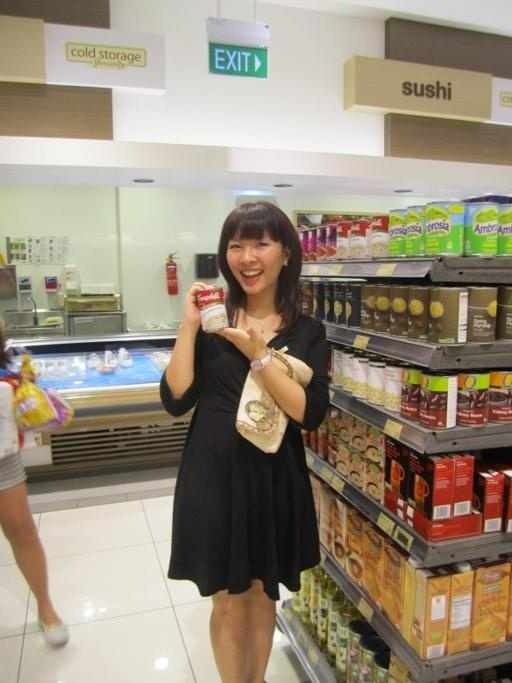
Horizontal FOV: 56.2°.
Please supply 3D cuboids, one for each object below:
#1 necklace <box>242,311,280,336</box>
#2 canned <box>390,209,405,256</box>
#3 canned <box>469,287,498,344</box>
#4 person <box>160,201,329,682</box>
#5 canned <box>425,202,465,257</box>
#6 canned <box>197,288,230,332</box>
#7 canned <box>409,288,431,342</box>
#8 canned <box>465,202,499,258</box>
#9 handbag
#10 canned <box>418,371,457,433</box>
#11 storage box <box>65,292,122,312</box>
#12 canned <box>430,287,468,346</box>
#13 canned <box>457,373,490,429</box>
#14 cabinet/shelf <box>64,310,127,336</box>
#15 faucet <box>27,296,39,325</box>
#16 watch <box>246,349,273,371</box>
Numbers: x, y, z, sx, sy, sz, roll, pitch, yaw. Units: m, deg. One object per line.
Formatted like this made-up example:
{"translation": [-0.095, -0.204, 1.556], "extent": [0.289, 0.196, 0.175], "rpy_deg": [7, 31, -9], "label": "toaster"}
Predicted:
{"translation": [0.018, -0.050, 1.347], "extent": [0.058, 0.062, 0.018], "rpy_deg": [-7, 6, 33], "label": "necklace"}
{"translation": [0.407, -0.313, 1.379], "extent": [0.046, 0.138, 0.068], "rpy_deg": [1, 4, 16], "label": "canned"}
{"translation": [0.570, -0.068, 1.204], "extent": [0.083, 0.136, 0.030], "rpy_deg": [-1, 4, -24], "label": "canned"}
{"translation": [-0.030, 0.365, 1.360], "extent": [0.431, 1.497, 0.418], "rpy_deg": [2, 4, 25], "label": "person"}
{"translation": [0.485, -0.286, 1.222], "extent": [0.093, 0.136, 0.060], "rpy_deg": [1, 4, 16], "label": "canned"}
{"translation": [-0.106, -0.080, 1.163], "extent": [0.071, 0.112, 0.067], "rpy_deg": [-15, 13, -38], "label": "canned"}
{"translation": [0.425, -0.072, 1.250], "extent": [0.064, 0.141, 0.037], "rpy_deg": [3, 5, 38], "label": "canned"}
{"translation": [0.589, -0.287, 1.234], "extent": [0.103, 0.131, 0.049], "rpy_deg": [-1, 4, -22], "label": "canned"}
{"translation": [0.028, 0.151, 1.241], "extent": [0.179, 0.090, 0.241], "rpy_deg": [32, 41, -14], "label": "handbag"}
{"translation": [0.467, 0.142, 1.220], "extent": [0.081, 0.137, 0.091], "rpy_deg": [0, 9, 14], "label": "canned"}
{"translation": [-2.056, -0.479, 5.971], "extent": [0.622, 0.236, 0.547], "rpy_deg": [-1, 4, -20], "label": "storage box"}
{"translation": [0.473, -0.064, 1.178], "extent": [0.083, 0.137, 0.039], "rpy_deg": [1, 4, 16], "label": "canned"}
{"translation": [0.565, 0.145, 1.252], "extent": [0.091, 0.135, 0.093], "rpy_deg": [-3, 2, -21], "label": "canned"}
{"translation": [-1.918, -0.218, 5.710], "extent": [0.664, 0.399, 0.667], "rpy_deg": [1, 0, -8], "label": "cabinet/shelf"}
{"translation": [-2.855, -0.398, 6.114], "extent": [0.126, 0.369, 0.384], "rpy_deg": [-1, 4, -26], "label": "faucet"}
{"translation": [0.011, 0.032, 1.201], "extent": [0.056, 0.058, 0.035], "rpy_deg": [-16, 56, -32], "label": "watch"}
